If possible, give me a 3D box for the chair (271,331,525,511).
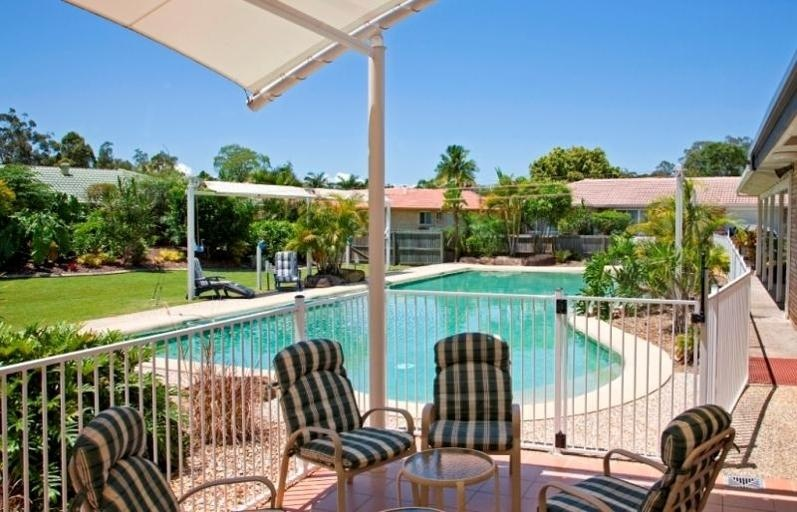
[{"bbox_3d":[-0.003,1.416,5.180,2.019,1.407,1.433,-4,-2,37],"label":"chair"}]

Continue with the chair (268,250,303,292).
[{"bbox_3d":[-3.574,0.508,17.565,0.971,1.322,1.029,-1,6,-2],"label":"chair"}]

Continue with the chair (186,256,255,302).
[{"bbox_3d":[-5.269,0.667,16.072,2.111,1.503,1.261,1,4,1],"label":"chair"}]
